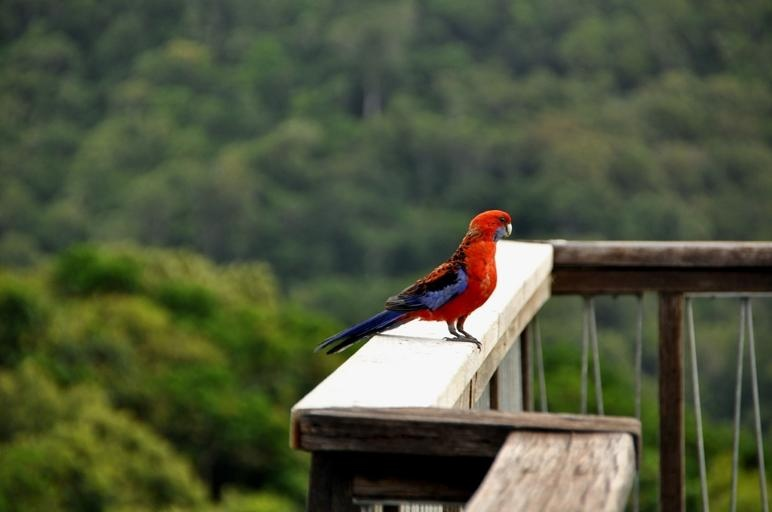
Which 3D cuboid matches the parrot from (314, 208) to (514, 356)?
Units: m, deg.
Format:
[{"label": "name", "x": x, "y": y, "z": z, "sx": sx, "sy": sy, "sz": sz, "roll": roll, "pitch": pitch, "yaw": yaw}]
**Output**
[{"label": "parrot", "x": 0.422, "y": 0.247, "z": 14.337, "sx": 1.641, "sy": 0.934, "sz": 0.516, "roll": -14, "pitch": 5, "yaw": -2}]
